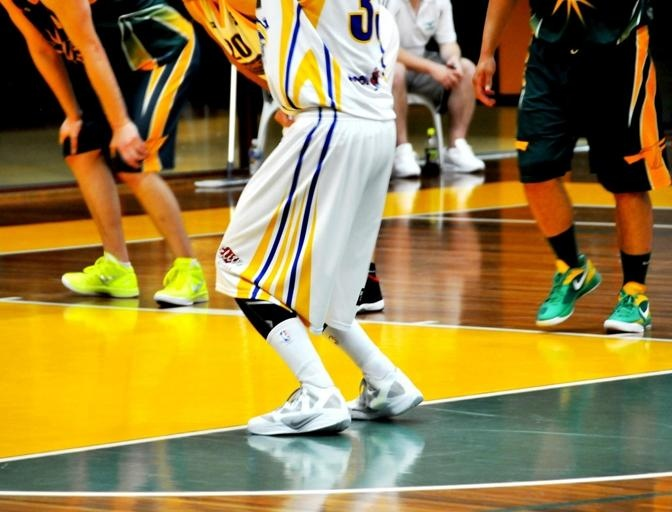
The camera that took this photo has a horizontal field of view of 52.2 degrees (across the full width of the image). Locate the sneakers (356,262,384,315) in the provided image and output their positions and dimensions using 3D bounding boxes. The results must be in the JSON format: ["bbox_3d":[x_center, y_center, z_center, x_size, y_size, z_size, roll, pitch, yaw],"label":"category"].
[{"bbox_3d":[0.148,0.155,3.104,0.096,0.192,0.271,-2,-7,-25],"label":"sneakers"}]

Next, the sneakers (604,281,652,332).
[{"bbox_3d":[1.180,0.207,2.749,0.135,0.184,0.367,3,5,37],"label":"sneakers"}]

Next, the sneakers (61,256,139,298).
[{"bbox_3d":[-1.139,0.096,3.509,0.412,0.243,0.182,6,1,7],"label":"sneakers"}]

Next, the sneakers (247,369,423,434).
[{"bbox_3d":[-0.010,0.343,1.828,0.477,0.183,0.175,-6,-8,-2],"label":"sneakers"}]

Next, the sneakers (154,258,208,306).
[{"bbox_3d":[-0.737,0.120,3.296,0.157,0.228,0.331,1,4,32],"label":"sneakers"}]
